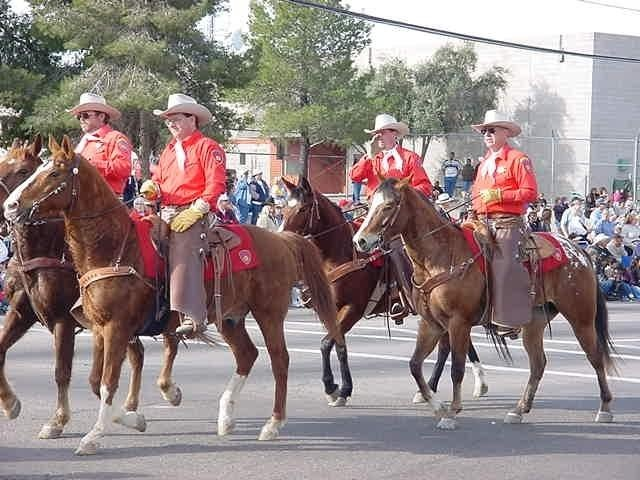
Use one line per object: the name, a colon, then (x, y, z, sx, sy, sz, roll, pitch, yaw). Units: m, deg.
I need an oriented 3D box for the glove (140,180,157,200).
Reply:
glove: (-2.447, -0.722, 18.307, 0.253, 0.230, 0.301, 0, -15, 0)

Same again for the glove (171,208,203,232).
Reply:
glove: (-1.899, -0.275, 18.128, 0.461, 0.266, 0.146, -36, -18, -20)

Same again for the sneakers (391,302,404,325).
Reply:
sneakers: (1.310, 1.248, 20.840, 0.169, 0.406, 0.178, -2, 15, -13)

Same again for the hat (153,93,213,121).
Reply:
hat: (-1.989, -2.050, 18.724, 0.605, 0.202, 0.521, 7, -19, -38)
